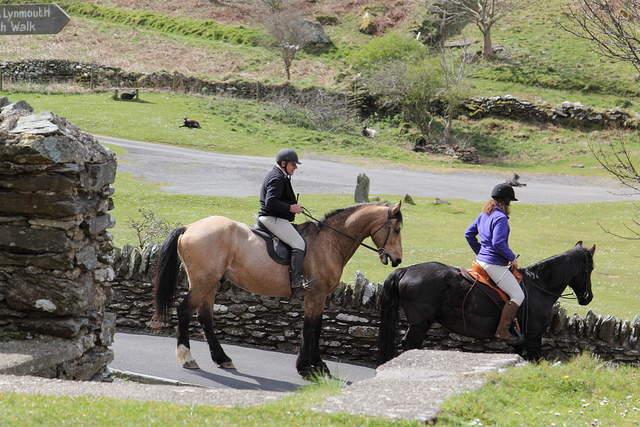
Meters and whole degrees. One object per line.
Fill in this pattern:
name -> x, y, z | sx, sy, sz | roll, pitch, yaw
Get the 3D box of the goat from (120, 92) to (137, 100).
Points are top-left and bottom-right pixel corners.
goat -> -21.141, -12.770, 125.488 | 1.236, 0.403, 0.866 | 2, 4, -14

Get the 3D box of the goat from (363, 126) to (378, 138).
goat -> 5.735, -9.358, 133.976 | 1.494, 0.743, 2.223 | -4, 13, -1

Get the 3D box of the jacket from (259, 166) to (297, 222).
jacket -> -3.207, -1.525, 88.088 | 2.661, 3.977, 2.702 | 1, 1, 4
